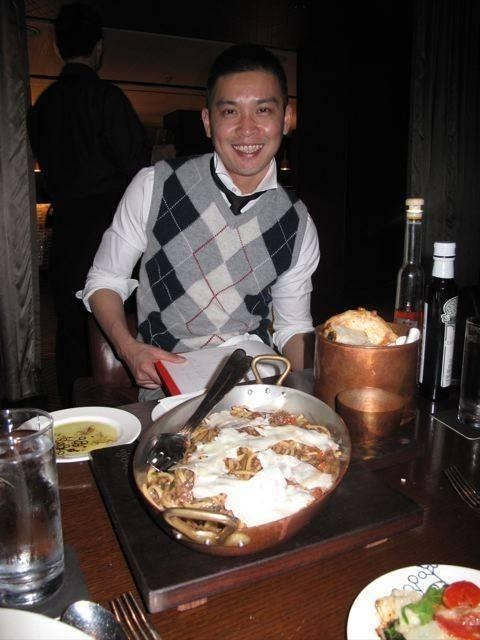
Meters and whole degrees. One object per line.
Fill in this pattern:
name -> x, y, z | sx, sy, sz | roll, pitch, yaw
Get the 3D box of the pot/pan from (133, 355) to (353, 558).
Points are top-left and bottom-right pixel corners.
pot/pan -> 0.000, 0.147, 0.632 | 0.152, 0.071, 0.230 | 4, 19, 16

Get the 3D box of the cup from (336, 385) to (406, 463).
cup -> 0.207, 0.158, 0.809 | 0.096, 0.073, 0.111 | 0, 2, 8

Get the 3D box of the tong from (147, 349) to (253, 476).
tong -> -0.046, 0.126, 0.785 | 0.058, 0.035, 0.275 | 26, 41, 17

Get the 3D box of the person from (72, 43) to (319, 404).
person -> -0.075, -0.286, 1.634 | 0.793, 1.014, 0.493 | -7, 16, -23

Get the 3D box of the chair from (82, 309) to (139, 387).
chair -> -0.397, 0.092, 1.749 | 0.217, 0.168, 0.181 | 35, -24, 0

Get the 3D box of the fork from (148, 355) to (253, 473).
fork -> -0.045, 0.126, 0.795 | 0.057, 0.037, 0.276 | 28, 40, 15

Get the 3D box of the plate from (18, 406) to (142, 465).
plate -> -0.266, 0.198, 0.939 | 0.145, 0.017, 0.135 | -8, 20, -29
